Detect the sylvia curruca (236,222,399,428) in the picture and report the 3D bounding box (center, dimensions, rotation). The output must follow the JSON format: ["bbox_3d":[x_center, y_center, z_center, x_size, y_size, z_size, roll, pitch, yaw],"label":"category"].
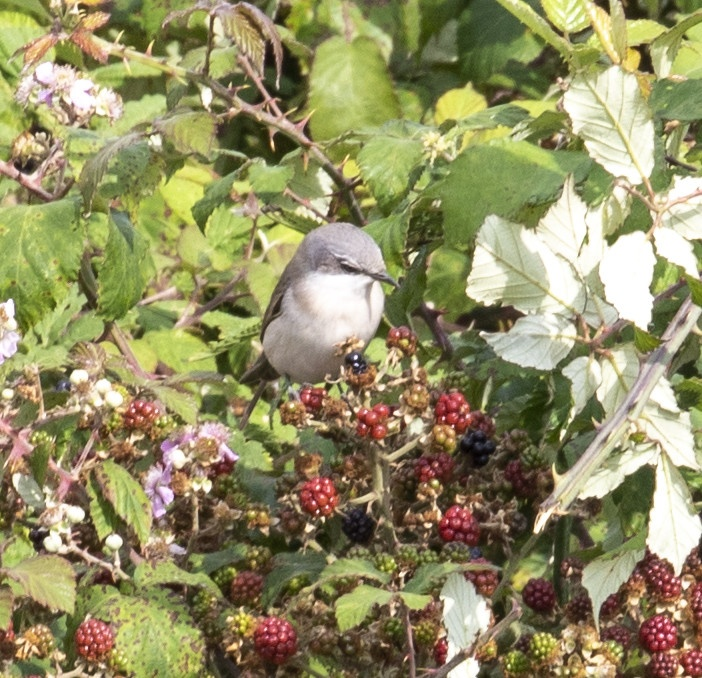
[{"bbox_3d":[-0.139,-0.144,3.728,0.363,0.703,0.773,-10,31,-32],"label":"sylvia curruca"}]
